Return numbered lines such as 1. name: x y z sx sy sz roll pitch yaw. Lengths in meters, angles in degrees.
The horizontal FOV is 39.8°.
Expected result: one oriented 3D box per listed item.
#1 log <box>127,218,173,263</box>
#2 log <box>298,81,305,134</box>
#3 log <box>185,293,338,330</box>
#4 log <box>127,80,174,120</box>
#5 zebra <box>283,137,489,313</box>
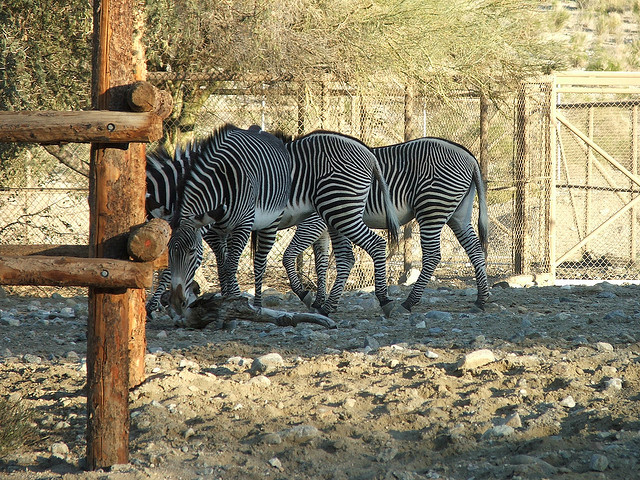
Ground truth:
1. log: -1.304 0.006 6.738 0.309 0.294 0.363 0 7 -11
2. log: -0.239 -1.646 11.010 0.088 0.641 0.196 1 7 -2
3. log: -0.717 0.778 9.303 1.722 0.488 0.470 1 -17 13
4. log: -1.287 -1.064 6.756 0.148 0.216 0.356 -3 -4 14
5. zebra: 0.381 -0.236 10.576 3.251 2.327 0.876 -2 -3 5
